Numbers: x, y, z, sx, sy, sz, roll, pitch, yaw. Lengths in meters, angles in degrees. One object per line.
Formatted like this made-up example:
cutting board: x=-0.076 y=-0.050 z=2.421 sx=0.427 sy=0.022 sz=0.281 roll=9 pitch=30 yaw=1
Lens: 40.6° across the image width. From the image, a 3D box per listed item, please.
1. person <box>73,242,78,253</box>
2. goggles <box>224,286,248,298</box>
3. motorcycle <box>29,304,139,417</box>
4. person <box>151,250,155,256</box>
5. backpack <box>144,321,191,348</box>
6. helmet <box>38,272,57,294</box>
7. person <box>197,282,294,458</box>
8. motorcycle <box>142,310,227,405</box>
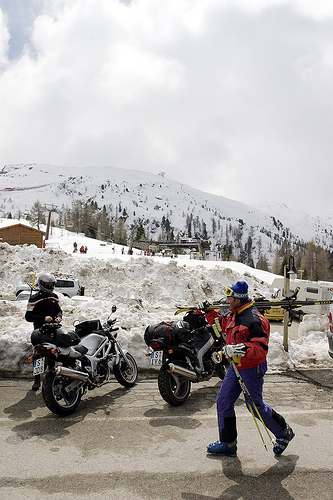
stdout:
person: x=-13.444 y=-0.371 z=66.029 sx=0.654 sy=0.557 sz=1.862 roll=-15 pitch=-35 yaw=-20
goggles: x=0.782 y=0.460 z=5.064 sx=0.165 sy=0.073 sz=0.130 roll=8 pitch=1 yaw=22
motorcycle: x=-1.222 y=1.689 z=7.070 sx=0.869 sy=1.381 sz=2.333 roll=-16 pitch=-10 yaw=22
person: x=-2.513 y=0.480 z=79.780 sx=0.553 sy=1.333 sz=0.721 roll=5 pitch=-31 yaw=3
backpack: x=0.003 y=1.281 z=7.036 sx=0.511 sy=0.279 sz=0.399 roll=4 pitch=-5 yaw=2
helmet: x=-2.050 y=0.576 z=7.647 sx=0.267 sy=0.357 sz=0.329 roll=1 pitch=1 yaw=-17
person: x=0.859 y=1.299 z=5.567 sx=0.849 sy=1.339 sz=1.736 roll=1 pitch=1 yaw=-2
motorcycle: x=0.576 y=1.629 z=7.464 sx=0.883 sy=1.368 sz=2.190 roll=-13 pitch=-6 yaw=36
